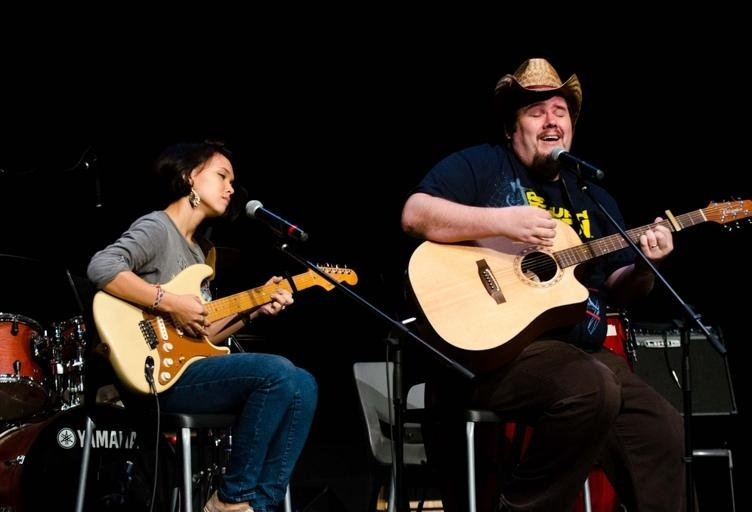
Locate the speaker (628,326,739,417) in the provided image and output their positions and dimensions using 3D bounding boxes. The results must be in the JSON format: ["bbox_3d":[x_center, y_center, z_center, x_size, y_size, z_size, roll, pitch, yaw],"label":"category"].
[{"bbox_3d":[2.191,0.950,5.001,0.769,0.749,0.597,2,-33,1],"label":"speaker"}]

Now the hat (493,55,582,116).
[{"bbox_3d":[1.047,-1.152,4.216,0.502,0.232,0.575,-9,17,-2],"label":"hat"}]

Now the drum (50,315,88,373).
[{"bbox_3d":[-2.102,0.606,4.483,0.238,0.370,0.109,-2,-3,-27],"label":"drum"}]

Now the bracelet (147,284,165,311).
[{"bbox_3d":[-1.239,0.237,3.717,0.090,0.123,0.033,12,-11,-18],"label":"bracelet"}]

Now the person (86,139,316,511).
[{"bbox_3d":[-0.987,0.345,3.914,1.199,2.291,0.504,-3,-11,-6],"label":"person"}]
